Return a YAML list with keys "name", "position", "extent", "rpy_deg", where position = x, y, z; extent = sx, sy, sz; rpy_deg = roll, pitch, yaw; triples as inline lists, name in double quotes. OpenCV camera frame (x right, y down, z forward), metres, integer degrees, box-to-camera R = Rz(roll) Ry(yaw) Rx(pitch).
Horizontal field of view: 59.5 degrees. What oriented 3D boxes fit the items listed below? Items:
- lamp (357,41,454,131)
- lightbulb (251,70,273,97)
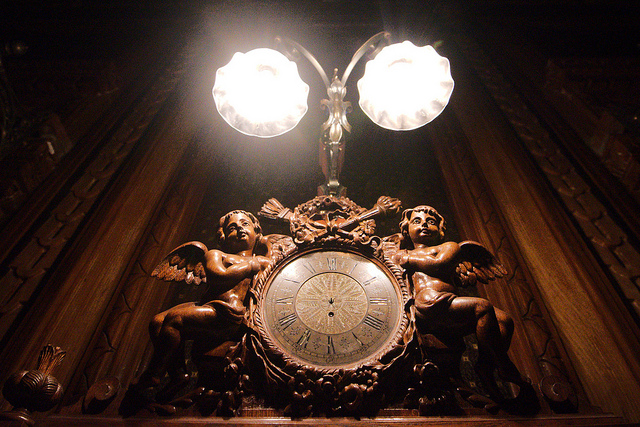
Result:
- name: "lamp"
  position: [0.600, -0.900, 3.967]
  extent: [0.588, 0.639, 0.152]
  rpy_deg: [19, -1, 6]
- name: "lightbulb"
  position: [-0.411, -0.931, 3.995]
  extent: [0.145, 0.072, 0.185]
  rpy_deg: [20, -85, -3]
